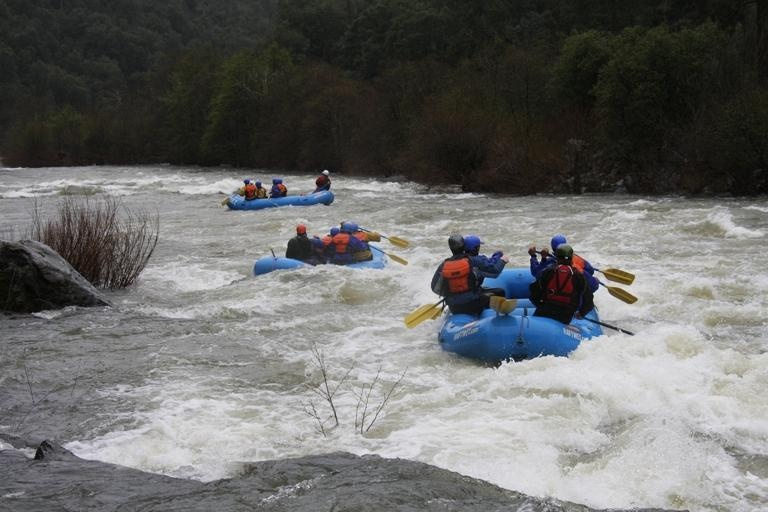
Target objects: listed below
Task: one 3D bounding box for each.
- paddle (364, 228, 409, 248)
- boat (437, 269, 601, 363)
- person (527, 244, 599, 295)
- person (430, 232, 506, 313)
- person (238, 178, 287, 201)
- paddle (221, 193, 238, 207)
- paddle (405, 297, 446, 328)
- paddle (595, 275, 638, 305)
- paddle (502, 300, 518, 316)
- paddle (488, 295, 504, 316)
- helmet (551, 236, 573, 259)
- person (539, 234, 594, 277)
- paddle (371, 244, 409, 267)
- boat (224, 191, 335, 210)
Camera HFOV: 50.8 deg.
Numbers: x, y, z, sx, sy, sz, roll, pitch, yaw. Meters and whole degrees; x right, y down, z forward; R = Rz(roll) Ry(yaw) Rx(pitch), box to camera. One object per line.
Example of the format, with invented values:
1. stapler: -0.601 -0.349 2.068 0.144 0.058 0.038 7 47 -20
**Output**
1. paddle: 0.046 -0.478 21.964 2.026 0.264 0.154 21 0 45
2. boat: 2.771 1.145 16.102 3.052 1.165 2.908 2 14 14
3. person: 3.551 0.300 16.097 1.089 1.857 0.712 -2 50 7
4. person: 1.725 0.389 16.816 1.216 1.948 1.178 11 50 25
5. person: -4.347 -2.410 28.782 1.542 0.588 0.841 2 8 1
6. paddle: -5.783 -2.008 29.818 0.122 0.486 2.093 3 -3 -25
7. paddle: 0.896 1.103 16.186 0.366 0.124 1.229 35 39 28
8. paddle: 4.979 0.740 17.251 0.110 0.268 1.436 17 12 -34
9. paddle: 2.285 0.921 15.035 0.257 0.219 0.279 4 9 0
10. paddle: 2.065 0.905 15.066 0.296 0.274 0.397 -10 1 -15
11. helmet: 3.497 -0.225 15.932 0.366 0.322 0.588 -1 3 9
12. person: 3.964 -0.005 17.493 0.870 0.588 1.438 20 -14 -16
13. paddle: 0.161 -0.011 20.296 1.526 0.202 0.069 21 13 6
14. boat: -3.668 -1.947 28.602 2.956 0.621 1.259 -3 4 -11
